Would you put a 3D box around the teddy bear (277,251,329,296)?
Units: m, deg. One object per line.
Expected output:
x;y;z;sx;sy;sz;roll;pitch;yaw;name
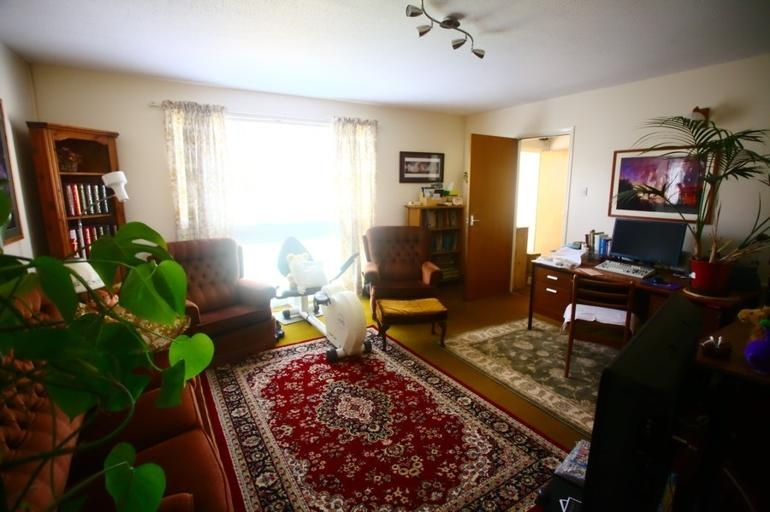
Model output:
-0.890;0.181;5.563;0.401;0.371;0.426;-7;14;-18;teddy bear

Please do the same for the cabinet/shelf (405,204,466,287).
0.695;-0.180;6.992;0.787;1.084;0.358;4;8;-16;cabinet/shelf

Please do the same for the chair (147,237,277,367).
-1.654;0.428;5.013;0.912;1.111;0.784;-11;17;-38;chair

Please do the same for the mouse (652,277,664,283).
2.491;0.219;4.589;0.065;0.016;0.060;10;28;30;mouse

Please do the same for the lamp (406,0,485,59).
0.499;-1.837;4.132;0.466;0.332;0.870;4;14;24;lamp

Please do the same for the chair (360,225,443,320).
0.183;0.187;5.840;0.889;1.095;0.998;2;7;-3;chair

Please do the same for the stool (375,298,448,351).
0.268;0.683;5.201;0.680;0.403;0.455;-2;14;-10;stool

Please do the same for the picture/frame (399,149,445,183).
0.474;-1.266;7.068;0.533;0.318;0.020;-4;11;-29;picture/frame

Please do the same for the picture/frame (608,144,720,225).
2.831;-0.719;5.051;0.048;0.712;0.908;-8;13;-41;picture/frame
